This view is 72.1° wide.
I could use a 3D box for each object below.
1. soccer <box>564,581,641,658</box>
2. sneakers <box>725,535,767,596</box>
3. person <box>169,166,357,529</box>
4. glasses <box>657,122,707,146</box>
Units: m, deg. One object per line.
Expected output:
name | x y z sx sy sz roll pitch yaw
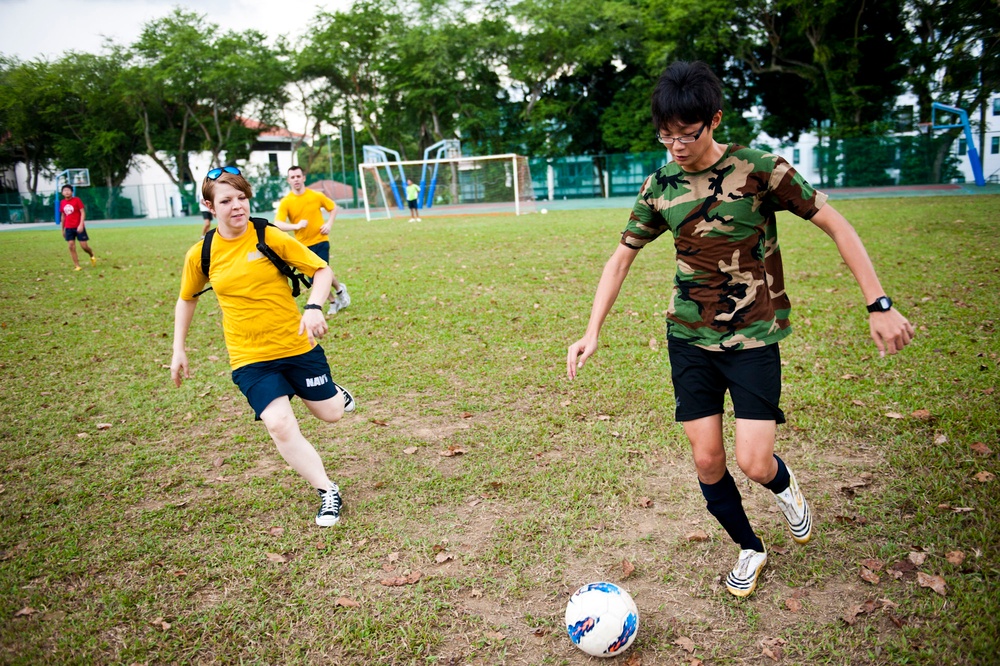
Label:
soccer | 0.715 1.964 4.890 0.446 0.465 0.479 -31 -1 36
sneakers | 1.810 1.699 5.082 0.430 0.181 0.176 -42 28 -28
person | -2.049 0.122 5.867 1.400 3.032 0.621 -3 13 8
glasses | 1.230 -1.350 4.700 0.335 0.124 0.137 2 14 27
